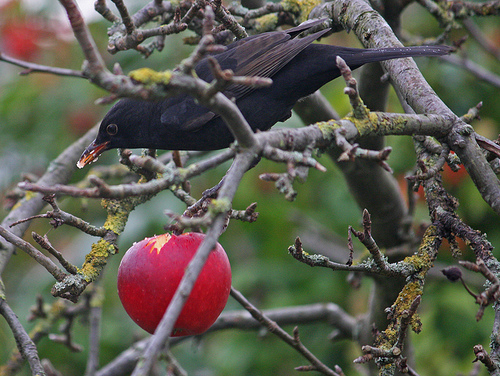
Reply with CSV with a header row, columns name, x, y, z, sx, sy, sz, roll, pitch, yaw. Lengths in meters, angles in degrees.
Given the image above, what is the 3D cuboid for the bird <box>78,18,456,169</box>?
name,x,y,z,sx,sy,sz,roll,pitch,yaw
bird,0.060,-0.589,4.006,2.320,0.828,0.654,-17,25,2
